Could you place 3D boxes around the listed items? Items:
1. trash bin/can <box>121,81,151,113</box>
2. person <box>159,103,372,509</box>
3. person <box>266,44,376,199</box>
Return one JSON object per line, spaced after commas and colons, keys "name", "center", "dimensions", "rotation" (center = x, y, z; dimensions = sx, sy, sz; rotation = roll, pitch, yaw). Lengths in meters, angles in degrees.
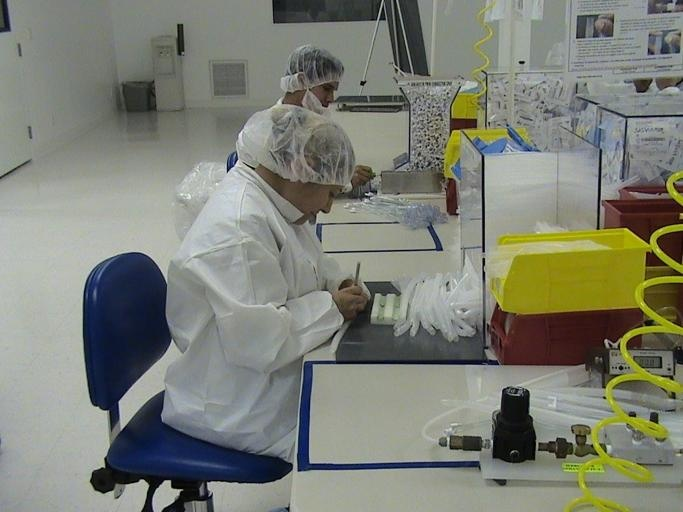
{"name": "trash bin/can", "center": [-2.918, -2.269, 8.592], "dimensions": [0.408, 0.510, 0.399], "rotation": [1, 31, -11]}
{"name": "person", "center": [-0.187, -0.041, 2.290], "dimensions": [0.686, 1.788, 0.777], "rotation": [1, 10, -3]}
{"name": "person", "center": [-0.181, -0.659, 3.354], "dimensions": [0.433, 0.991, 0.432], "rotation": [-6, 35, -17]}
